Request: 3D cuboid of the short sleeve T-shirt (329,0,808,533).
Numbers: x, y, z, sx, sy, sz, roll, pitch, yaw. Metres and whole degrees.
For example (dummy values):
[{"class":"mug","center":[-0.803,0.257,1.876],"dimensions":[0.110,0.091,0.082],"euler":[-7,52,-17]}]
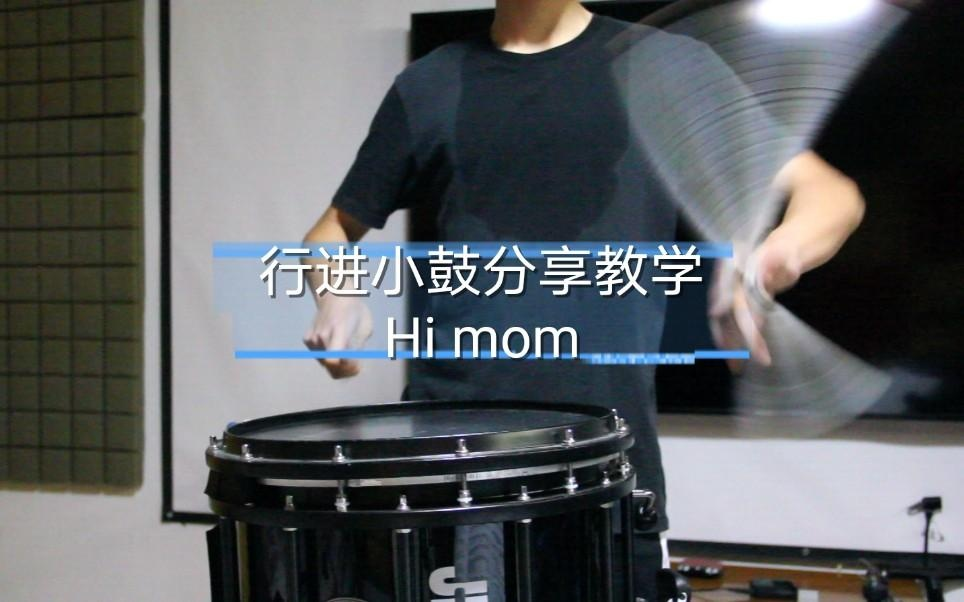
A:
[{"class":"short sleeve T-shirt","center":[0.433,-0.128,4.132],"dimensions":[2.044,2.289,0.831],"euler":[-3,5,1]}]
